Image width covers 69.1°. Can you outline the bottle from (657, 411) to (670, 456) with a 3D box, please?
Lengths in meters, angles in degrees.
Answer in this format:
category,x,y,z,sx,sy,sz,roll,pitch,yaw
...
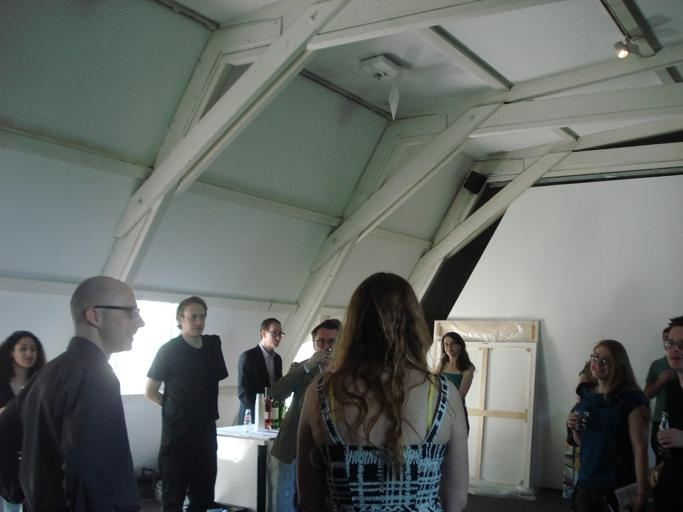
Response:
category,x,y,z,sx,sy,sz,roll,pitch,yaw
bottle,1.724,0.958,2.651,0.066,0.253,0.165,-5,-17,31
